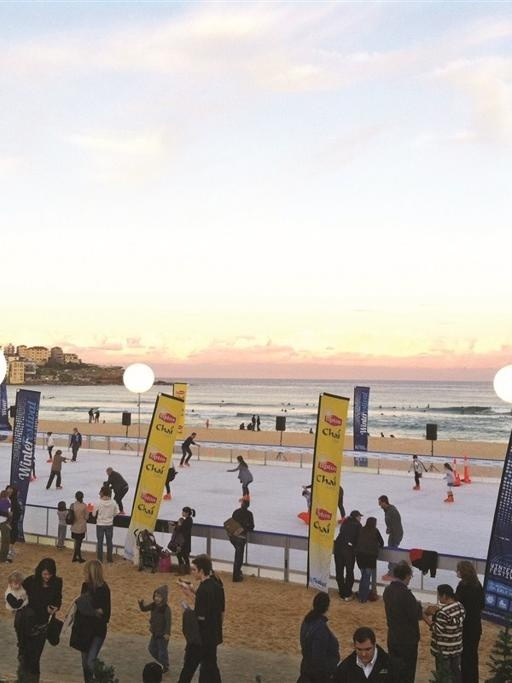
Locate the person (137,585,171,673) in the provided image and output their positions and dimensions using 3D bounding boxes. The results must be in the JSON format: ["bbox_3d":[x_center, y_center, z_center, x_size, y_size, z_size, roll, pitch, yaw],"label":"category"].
[{"bbox_3d":[-1.062,3.074,7.721,0.363,0.933,0.821,5,0,-5],"label":"person"}]

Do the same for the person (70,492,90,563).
[{"bbox_3d":[-3.311,3.462,13.681,0.357,1.361,0.700,5,-1,-12],"label":"person"}]

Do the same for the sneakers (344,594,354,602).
[{"bbox_3d":[1.453,4.005,11.397,0.087,0.079,0.222,5,0,43],"label":"sneakers"}]

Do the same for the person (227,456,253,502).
[{"bbox_3d":[-0.398,3.778,20.424,0.638,1.216,0.578,-4,5,0],"label":"person"}]

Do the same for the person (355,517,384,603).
[{"bbox_3d":[1.750,3.382,11.374,0.390,1.257,0.633,5,0,11],"label":"person"}]

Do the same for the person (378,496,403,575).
[{"bbox_3d":[2.439,3.541,13.326,0.626,1.422,0.610,1,-1,-4],"label":"person"}]

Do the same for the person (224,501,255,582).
[{"bbox_3d":[-0.316,3.403,12.499,0.429,1.390,0.715,5,0,12],"label":"person"}]

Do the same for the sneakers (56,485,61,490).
[{"bbox_3d":[-6.051,4.509,22.571,0.166,0.068,0.075,-4,1,27],"label":"sneakers"}]

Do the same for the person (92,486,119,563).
[{"bbox_3d":[-2.828,3.413,13.747,0.434,1.489,1.236,5,0,-10],"label":"person"}]

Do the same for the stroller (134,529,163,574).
[{"bbox_3d":[-1.896,3.820,13.303,0.487,0.703,0.491,3,-11,-1],"label":"stroller"}]
